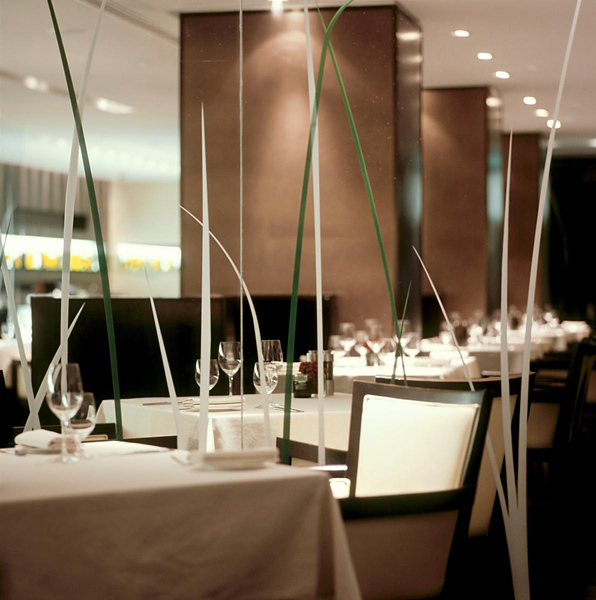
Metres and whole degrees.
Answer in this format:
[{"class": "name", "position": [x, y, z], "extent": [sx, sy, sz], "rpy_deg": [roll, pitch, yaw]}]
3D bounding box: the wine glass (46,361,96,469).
[{"class": "wine glass", "position": [-0.486, 0.222, 1.498], "extent": [0.077, 0.176, 0.287], "rpy_deg": [0, 3, -20]}]
